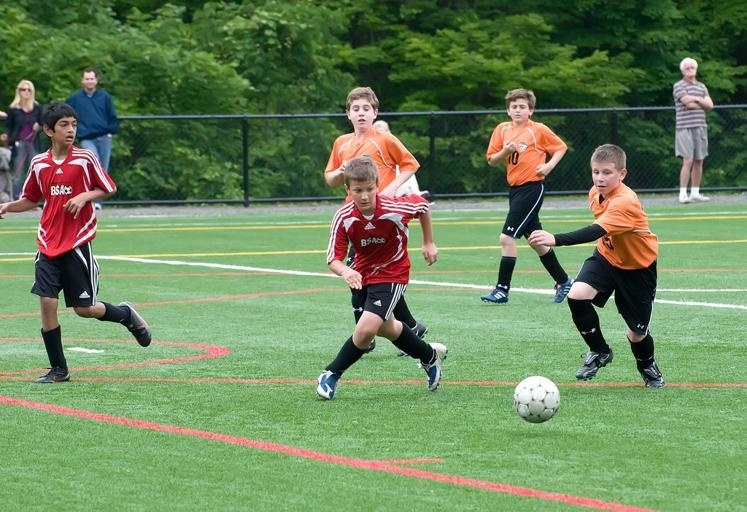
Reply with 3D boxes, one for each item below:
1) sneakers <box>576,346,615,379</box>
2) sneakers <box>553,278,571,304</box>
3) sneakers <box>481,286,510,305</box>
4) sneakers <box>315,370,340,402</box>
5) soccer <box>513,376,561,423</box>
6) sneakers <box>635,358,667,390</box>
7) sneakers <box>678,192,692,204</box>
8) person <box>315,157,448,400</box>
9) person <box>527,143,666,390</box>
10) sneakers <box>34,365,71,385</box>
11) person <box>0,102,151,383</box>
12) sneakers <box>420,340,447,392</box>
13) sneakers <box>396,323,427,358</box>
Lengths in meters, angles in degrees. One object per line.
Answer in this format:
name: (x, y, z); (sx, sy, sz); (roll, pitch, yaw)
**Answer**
sneakers: (1.802, 0.878, 8.972); (0.303, 0.138, 0.097); (-36, 36, -19)
sneakers: (1.961, 0.371, 11.513); (0.116, 0.263, 0.089); (38, -33, -9)
sneakers: (1.339, 0.432, 11.824); (0.380, 0.165, 0.125); (4, 0, -5)
sneakers: (-0.357, 0.989, 8.382); (0.143, 0.104, 0.289); (-39, 10, 13)
soccer: (1.149, 1.032, 7.881); (0.312, 0.311, 0.243); (0, 8, 6)
sneakers: (2.195, 0.909, 8.723); (0.210, 0.219, 0.266); (1, 8, 13)
sneakers: (6.033, -1.114, 21.420); (0.141, 0.158, 0.393); (-2, -4, 2)
person: (0.001, 0.151, 8.512); (0.981, 1.820, 0.506); (-2, 8, -6)
person: (1.854, 0.080, 8.678); (0.884, 1.883, 0.742); (-1, 8, 5)
sneakers: (-2.557, 0.963, 8.745); (0.290, 0.109, 0.098); (0, 4, -8)
person: (-2.530, -0.135, 9.001); (0.607, 2.189, 0.934); (4, 10, 35)
sneakers: (0.478, 0.881, 8.721); (0.227, 0.396, 0.151); (4, 1, -11)
sneakers: (0.332, 0.693, 9.682); (0.236, 0.158, 0.471); (32, -9, 3)
